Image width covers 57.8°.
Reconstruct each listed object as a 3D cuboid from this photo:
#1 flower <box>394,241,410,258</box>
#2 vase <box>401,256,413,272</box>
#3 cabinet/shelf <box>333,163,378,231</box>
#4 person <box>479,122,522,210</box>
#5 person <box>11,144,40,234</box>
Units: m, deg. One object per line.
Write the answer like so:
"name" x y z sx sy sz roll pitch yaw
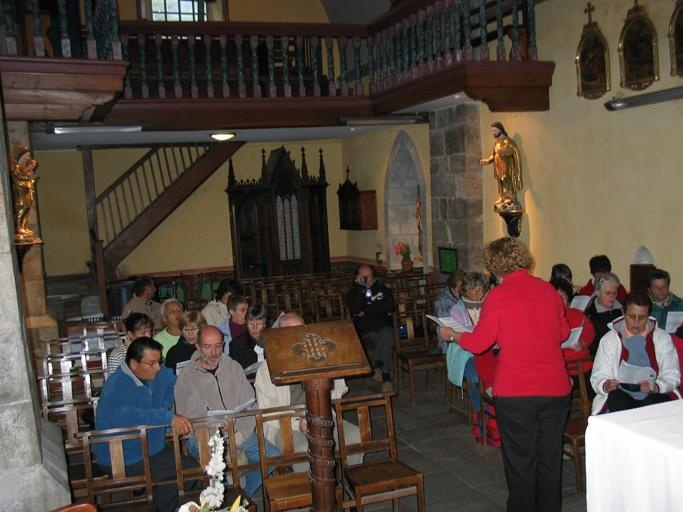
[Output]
"flower" 1.278 -0.129 13.195 0.244 0.140 0.342 -2 21 5
"vase" 1.346 0.178 12.782 0.264 0.209 0.269 0 1 -14
"cabinet/shelf" 0.381 -1.402 14.765 0.557 1.973 1.780 -1 -1 -22
"person" 2.165 -1.175 8.315 0.438 1.151 0.635 -5 0 26
"person" -3.431 -0.665 6.715 0.248 1.033 0.531 -5 0 -27
